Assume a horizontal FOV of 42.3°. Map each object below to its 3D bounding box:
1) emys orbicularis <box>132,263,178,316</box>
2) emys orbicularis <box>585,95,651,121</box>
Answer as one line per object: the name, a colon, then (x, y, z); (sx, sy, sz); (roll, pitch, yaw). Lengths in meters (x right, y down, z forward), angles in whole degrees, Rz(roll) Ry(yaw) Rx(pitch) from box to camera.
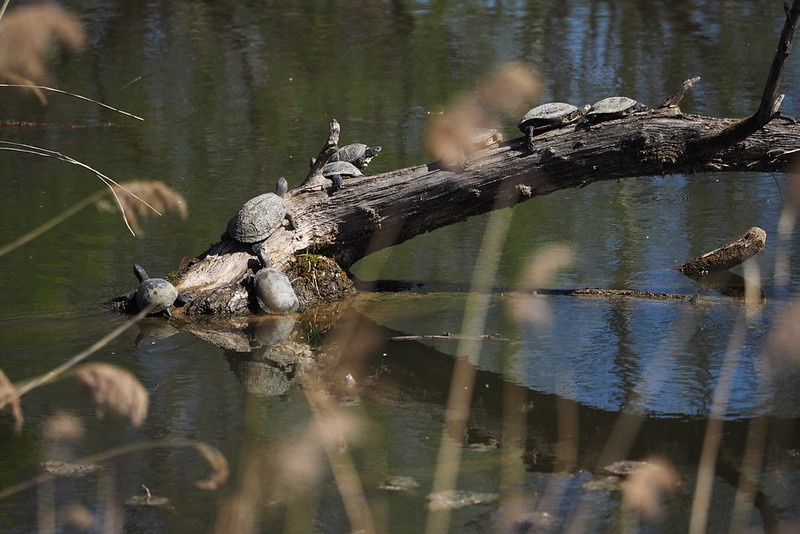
emys orbicularis: (-3.209, 0.327, 13.503); (0.733, 0.613, 0.200); (53, -5, 44)
emys orbicularis: (2.957, -2.158, 14.098); (0.733, 0.144, 0.419); (-6, 7, -7)
